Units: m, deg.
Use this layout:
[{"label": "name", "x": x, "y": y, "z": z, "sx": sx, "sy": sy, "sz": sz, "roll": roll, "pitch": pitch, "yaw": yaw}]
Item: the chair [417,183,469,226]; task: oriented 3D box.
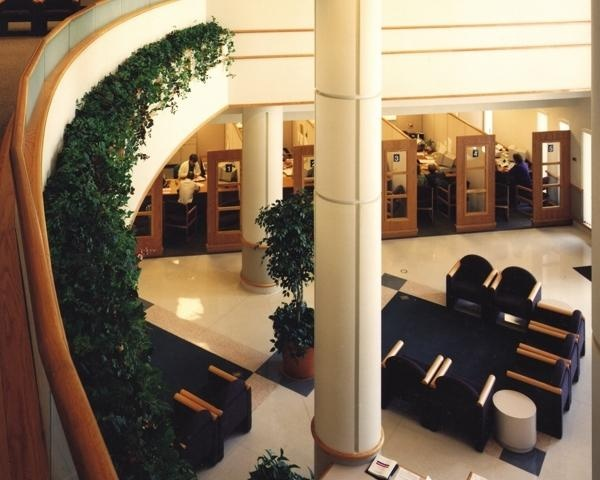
[{"label": "chair", "x": 3.446, "y": -0.859, "z": 12.243, "sx": 0.918, "sy": 1.025, "sz": 1.155, "roll": 1, "pitch": 8, "yaw": 16}]

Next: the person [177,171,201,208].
[{"label": "person", "x": -2.529, "y": -1.121, "z": 10.968, "sx": 0.407, "sy": 0.472, "sz": 0.901, "roll": -12, "pitch": -33, "yaw": -29}]

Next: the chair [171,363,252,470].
[{"label": "chair", "x": -1.027, "y": 2.102, "z": 5.717, "sx": 0.427, "sy": 0.824, "sz": 0.873, "roll": 21, "pitch": 36, "yaw": 28}]

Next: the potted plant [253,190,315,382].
[{"label": "potted plant", "x": -0.133, "y": 0.712, "z": 6.672, "sx": 0.663, "sy": 2.702, "sz": 0.566, "roll": -1, "pitch": 6, "yaw": -1}]

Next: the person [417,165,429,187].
[{"label": "person", "x": 3.130, "y": -1.564, "z": 12.383, "sx": 0.348, "sy": 0.488, "sz": 1.009, "roll": 4, "pitch": -4, "yaw": 13}]

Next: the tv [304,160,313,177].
[{"label": "tv", "x": 0.241, "y": -1.601, "z": 11.168, "sx": 0.135, "sy": 0.387, "sz": 0.280, "roll": -5, "pitch": 8, "yaw": -30}]

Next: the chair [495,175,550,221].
[{"label": "chair", "x": 5.429, "y": -1.104, "z": 12.324, "sx": 0.909, "sy": 1.179, "sz": 1.093, "roll": 1, "pitch": 8, "yaw": 14}]

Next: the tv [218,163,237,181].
[{"label": "tv", "x": -1.525, "y": -1.413, "z": 10.361, "sx": 0.288, "sy": 0.477, "sz": 0.389, "roll": 15, "pitch": 22, "yaw": 39}]
